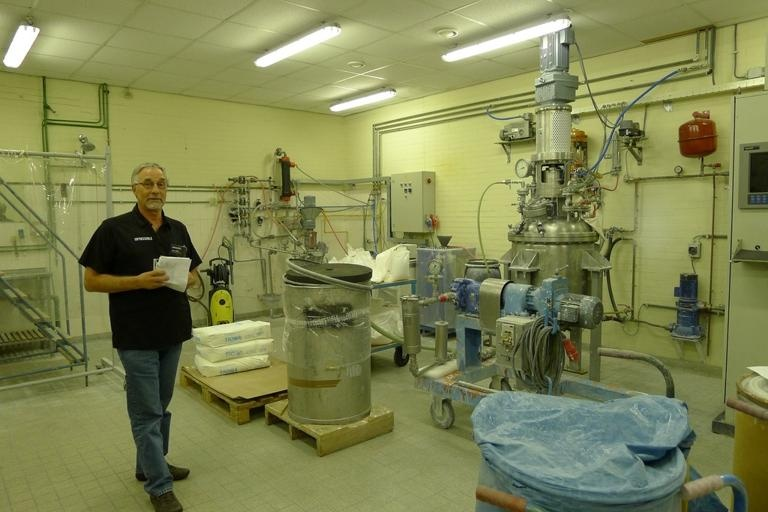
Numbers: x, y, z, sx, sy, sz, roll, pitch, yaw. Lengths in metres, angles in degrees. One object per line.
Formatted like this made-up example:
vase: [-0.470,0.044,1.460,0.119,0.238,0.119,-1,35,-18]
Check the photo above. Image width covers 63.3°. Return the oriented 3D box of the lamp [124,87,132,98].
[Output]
lamp: [-3.665,-2.302,8.824,0.111,0.111,0.121,-4,-10,24]

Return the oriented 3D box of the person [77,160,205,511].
person: [-1.938,0.654,5.046,0.875,2.786,0.633,-5,8,-26]

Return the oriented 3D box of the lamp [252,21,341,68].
lamp: [-0.964,-2.369,7.203,0.179,0.098,1.044,19,-17,-35]
